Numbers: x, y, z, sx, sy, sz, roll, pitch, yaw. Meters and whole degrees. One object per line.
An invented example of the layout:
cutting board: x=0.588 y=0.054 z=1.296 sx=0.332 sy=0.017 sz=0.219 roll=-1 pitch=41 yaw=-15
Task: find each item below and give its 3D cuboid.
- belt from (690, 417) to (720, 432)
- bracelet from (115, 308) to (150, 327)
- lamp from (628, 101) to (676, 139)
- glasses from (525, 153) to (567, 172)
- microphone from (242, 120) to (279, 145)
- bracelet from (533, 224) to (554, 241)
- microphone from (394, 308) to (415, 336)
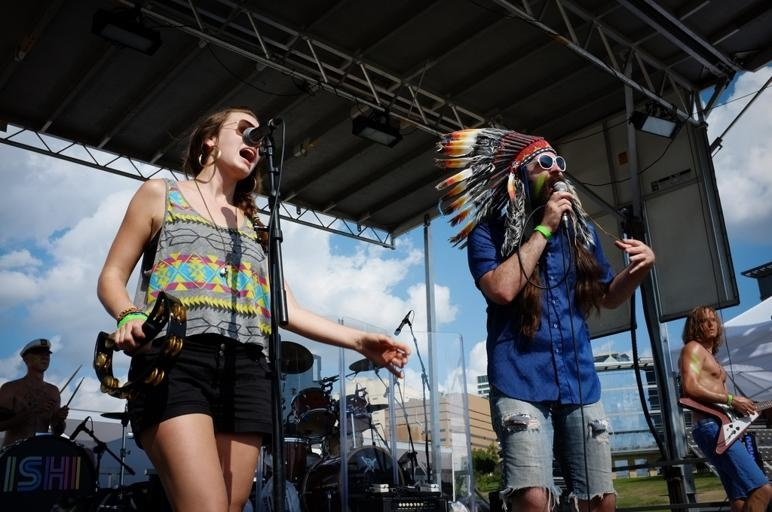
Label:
belt: x=3.228 y=1.685 z=5.616 sx=0.142 sy=0.208 sz=0.215 roll=-10 pitch=-20 yaw=21
bracelet: x=-1.212 y=0.284 z=2.662 sx=0.095 sy=0.041 sz=0.095 roll=-7 pitch=-32 yaw=-36
lamp: x=4.094 y=-2.016 z=8.464 sx=0.721 sy=0.438 sz=0.269 roll=23 pitch=-42 yaw=9
glasses: x=1.012 y=-0.576 z=3.434 sx=0.133 sy=0.063 sz=0.130 roll=3 pitch=-14 yaw=-29
microphone: x=-0.665 y=-0.702 z=3.114 sx=0.083 sy=0.269 sz=0.083 roll=27 pitch=-43 yaw=28
bracelet: x=0.929 y=-0.148 z=3.272 sx=0.107 sy=0.072 sz=0.109 roll=12 pitch=-27 yaw=37
microphone: x=0.207 y=0.781 z=6.417 sx=0.116 sy=0.421 sz=0.111 roll=-4 pitch=-55 yaw=33
